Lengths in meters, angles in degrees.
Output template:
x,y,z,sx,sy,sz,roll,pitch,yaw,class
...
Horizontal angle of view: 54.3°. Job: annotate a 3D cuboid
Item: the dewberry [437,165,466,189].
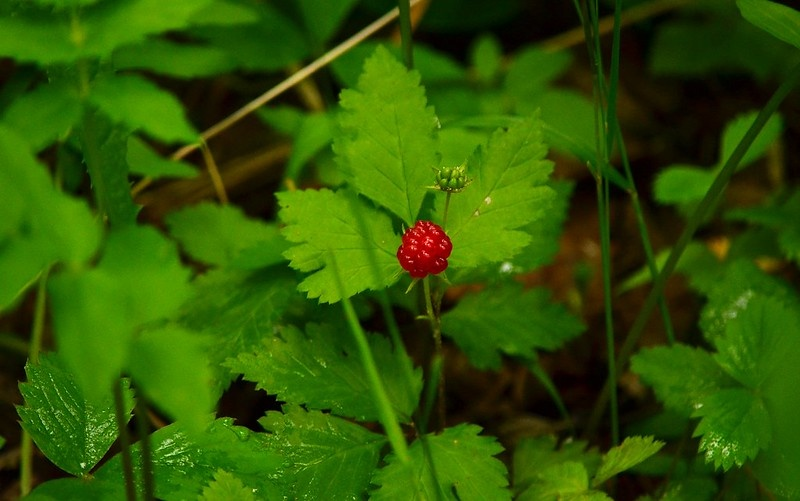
x,y,z,sx,sy,sz,roll,pitch,yaw,class
0.138,-0.191,2.083,0.061,0.045,0.068,27,47,36,dewberry
